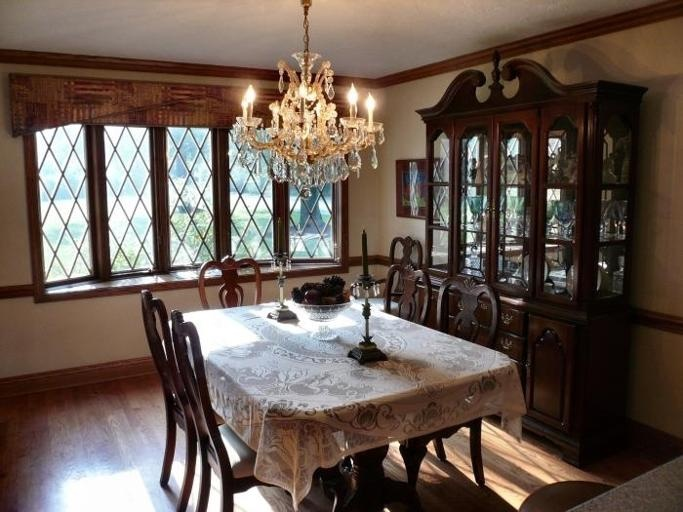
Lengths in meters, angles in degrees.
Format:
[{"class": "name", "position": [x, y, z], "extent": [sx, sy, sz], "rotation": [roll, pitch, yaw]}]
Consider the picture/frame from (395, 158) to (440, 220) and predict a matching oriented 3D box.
[{"class": "picture/frame", "position": [0.738, -0.649, 4.907], "extent": [0.042, 0.663, 0.609], "rotation": [-2, 6, -24]}]

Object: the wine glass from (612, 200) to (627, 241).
[{"class": "wine glass", "position": [1.852, -0.239, 3.408], "extent": [0.109, 0.251, 0.043], "rotation": [-7, 15, -27]}]

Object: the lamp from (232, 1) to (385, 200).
[{"class": "lamp", "position": [-0.300, -1.222, 3.874], "extent": [1.092, 1.650, 1.100], "rotation": [8, 13, 41]}]
